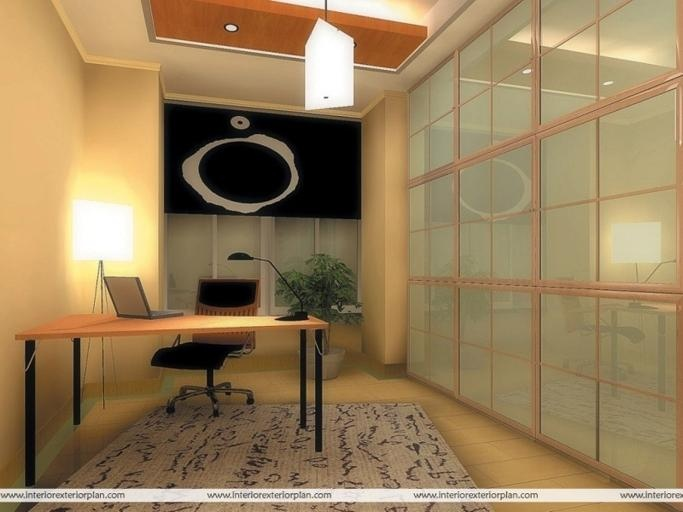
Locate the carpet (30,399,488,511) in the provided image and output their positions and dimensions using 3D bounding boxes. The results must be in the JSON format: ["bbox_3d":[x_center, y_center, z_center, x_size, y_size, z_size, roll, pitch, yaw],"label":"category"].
[{"bbox_3d":[-0.453,1.405,3.720,2.658,0.044,1.212,0,5,0],"label":"carpet"}]

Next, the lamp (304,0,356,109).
[{"bbox_3d":[-0.080,-1.188,2.999,0.309,0.566,0.171,1,5,4],"label":"lamp"}]

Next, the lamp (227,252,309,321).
[{"bbox_3d":[-0.658,0.275,4.890,0.641,0.780,2.456,0,5,-6],"label":"lamp"}]

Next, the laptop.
[{"bbox_3d":[-1.595,0.317,3.823,0.412,0.244,0.397,-3,-5,41],"label":"laptop"}]
